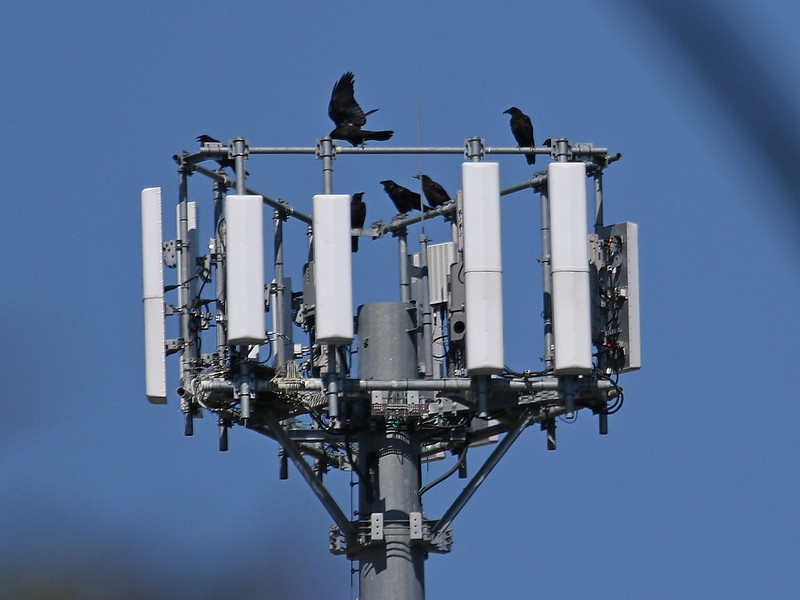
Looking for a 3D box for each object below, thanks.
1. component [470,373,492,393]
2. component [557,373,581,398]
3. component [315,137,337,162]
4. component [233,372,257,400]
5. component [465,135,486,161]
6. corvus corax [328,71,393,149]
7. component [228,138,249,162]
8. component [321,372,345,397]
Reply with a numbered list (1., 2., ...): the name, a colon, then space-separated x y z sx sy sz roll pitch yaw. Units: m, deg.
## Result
1. component: 1.734 1.722 55.834 0.377 0.405 0.365 0 -2 -20
2. component: 3.556 1.776 56.009 0.432 0.427 0.376 3 -33 -1
3. component: -1.544 -2.902 56.717 0.418 0.546 0.452 5 -33 -4
4. component: -3.200 1.780 55.738 0.430 0.428 0.128 0 -2 19
5. component: 1.613 -2.809 56.733 0.402 0.638 0.437 1 -33 2
6. corvus corax: -0.942 -3.565 60.138 1.553 1.191 2.076 -6 -31 -9
7. component: -3.375 -2.903 56.553 0.426 0.351 0.489 3 -32 -1
8. component: -1.436 1.708 55.670 0.429 0.388 0.166 -2 -3 -45
